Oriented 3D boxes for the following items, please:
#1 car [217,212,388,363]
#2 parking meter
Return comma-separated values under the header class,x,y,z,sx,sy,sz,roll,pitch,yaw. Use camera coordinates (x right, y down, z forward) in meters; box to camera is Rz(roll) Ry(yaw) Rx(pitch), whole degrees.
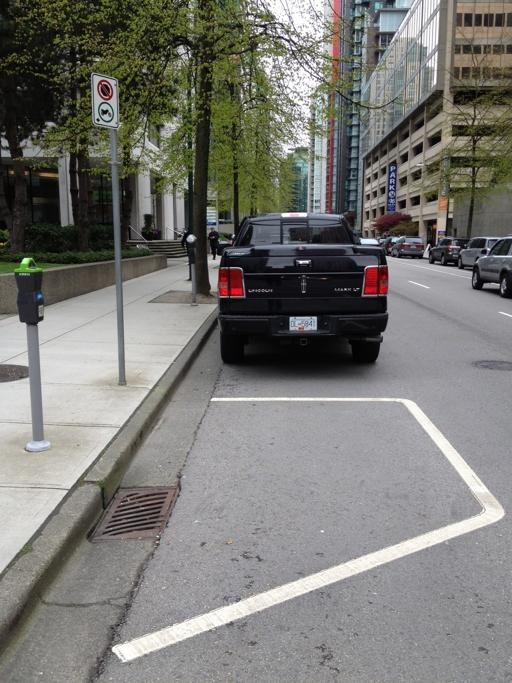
class,x,y,z,sx,sy,sz,roll,pitch,yaw
car,0.597,-0.742,7.687,2.184,2.209,2.101,1,7,2
parking meter,-1.528,0.118,3.845,0.189,1.276,0.192,-1,4,8
